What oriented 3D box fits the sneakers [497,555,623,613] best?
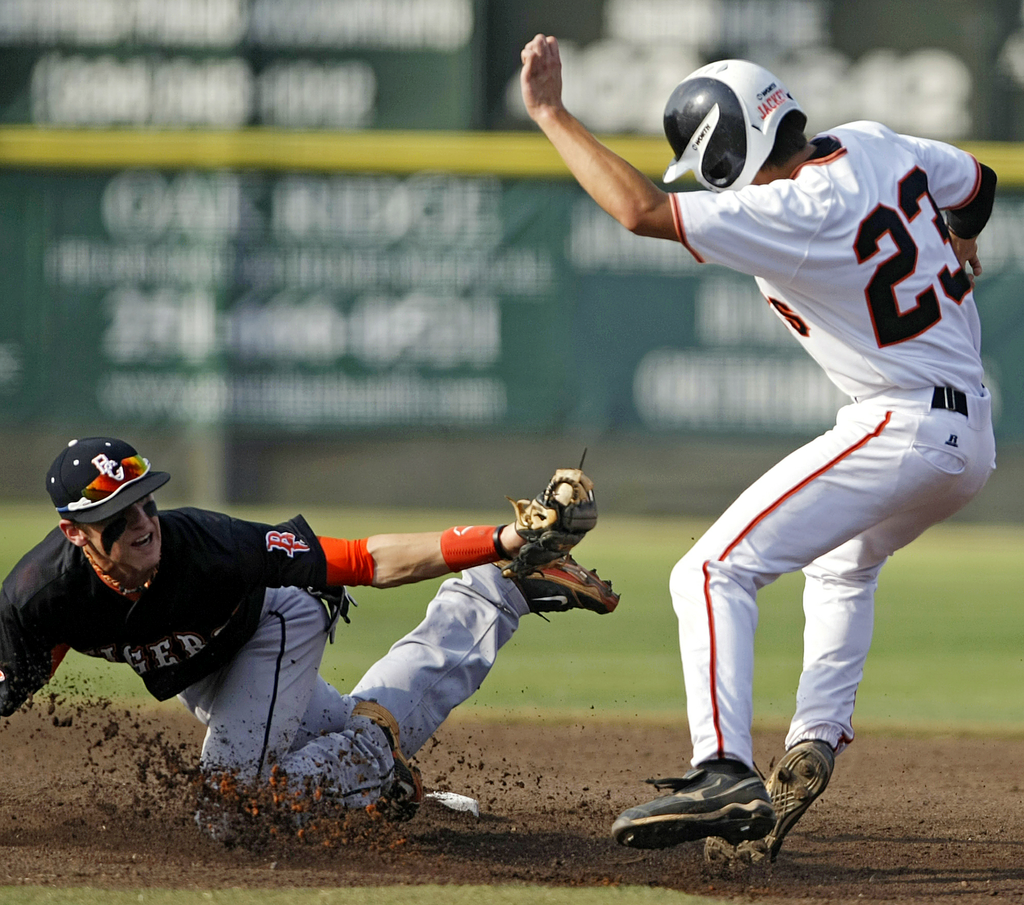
[{"bbox_3d":[0.178,0.524,8.953,0.515,0.257,0.196,6,24,-26],"label":"sneakers"}]

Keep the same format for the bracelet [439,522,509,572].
[{"bbox_3d":[-0.145,0.351,8.343,0.208,0.139,0.094,-9,6,3],"label":"bracelet"}]

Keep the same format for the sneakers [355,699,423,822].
[{"bbox_3d":[-0.427,1.167,8.672,0.134,0.408,0.293,-6,27,23],"label":"sneakers"}]

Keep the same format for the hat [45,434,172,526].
[{"bbox_3d":[-1.468,0.130,8.334,0.363,0.168,0.278,-5,31,47],"label":"hat"}]

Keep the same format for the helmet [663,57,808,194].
[{"bbox_3d":[0.845,-1.212,8.697,0.487,0.484,0.417,-3,14,15],"label":"helmet"}]

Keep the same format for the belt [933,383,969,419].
[{"bbox_3d":[1.571,-0.175,8.418,0.088,0.052,0.124,10,-6,-1],"label":"belt"}]
